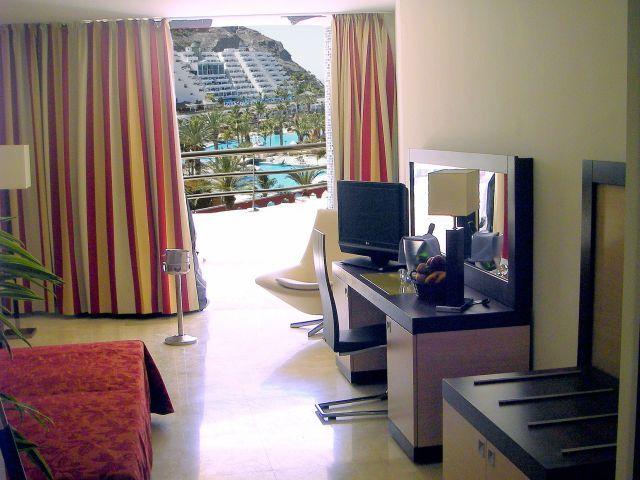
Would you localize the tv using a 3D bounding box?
[{"bbox_3d":[0.421,-0.107,4.088,0.334,0.604,0.621,-9,11,-40],"label":"tv"}]

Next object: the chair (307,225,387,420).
[{"bbox_3d":[0.273,0.583,3.664,0.612,1.088,0.568,0,-3,-10],"label":"chair"}]

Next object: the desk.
[{"bbox_3d":[0.662,0.756,3.887,0.747,0.861,1.937,-2,4,-11],"label":"desk"}]

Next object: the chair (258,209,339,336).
[{"bbox_3d":[-0.198,0.259,4.900,0.607,0.669,0.513,-12,18,-22],"label":"chair"}]

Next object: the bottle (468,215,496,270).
[{"bbox_3d":[0.968,0.054,3.243,0.155,0.239,0.243,-1,4,-15],"label":"bottle"}]

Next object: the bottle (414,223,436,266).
[{"bbox_3d":[0.670,0.007,3.390,0.113,0.257,0.131,15,47,12],"label":"bottle"}]

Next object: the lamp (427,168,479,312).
[{"bbox_3d":[0.772,0.014,3.127,0.289,0.782,0.295,2,6,37],"label":"lamp"}]

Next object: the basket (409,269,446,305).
[{"bbox_3d":[0.627,0.266,3.147,0.176,0.126,0.174,3,6,34],"label":"basket"}]
